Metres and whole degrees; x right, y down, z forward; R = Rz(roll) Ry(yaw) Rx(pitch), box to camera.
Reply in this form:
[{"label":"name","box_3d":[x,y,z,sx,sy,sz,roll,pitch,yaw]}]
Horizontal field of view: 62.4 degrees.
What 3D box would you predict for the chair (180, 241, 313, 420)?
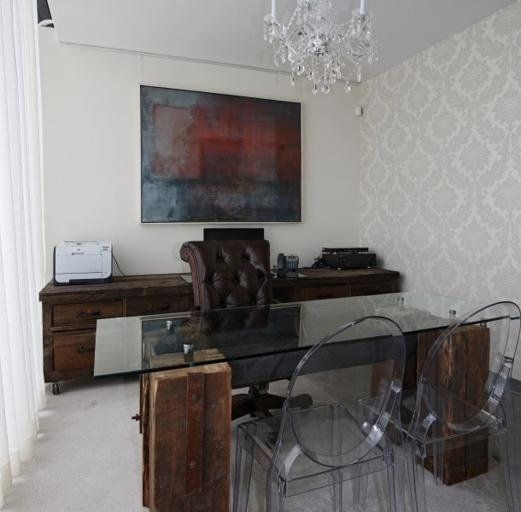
[{"label":"chair","box_3d":[-0.185,0.386,2.821,0.715,1.462,0.899,0,-1,-21]}]
